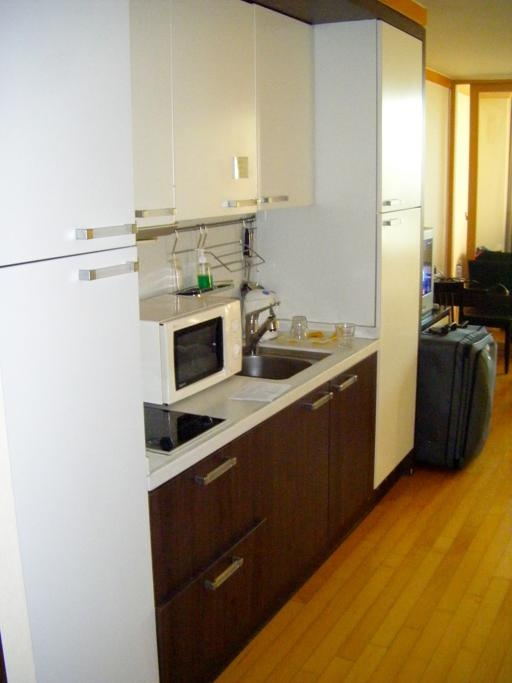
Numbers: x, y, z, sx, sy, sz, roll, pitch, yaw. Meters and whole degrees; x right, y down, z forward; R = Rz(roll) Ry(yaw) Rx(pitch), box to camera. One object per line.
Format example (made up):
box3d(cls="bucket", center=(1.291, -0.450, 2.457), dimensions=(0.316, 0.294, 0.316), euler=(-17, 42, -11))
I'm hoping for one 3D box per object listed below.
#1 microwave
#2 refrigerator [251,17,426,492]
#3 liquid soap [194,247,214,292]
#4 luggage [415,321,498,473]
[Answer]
box3d(cls="microwave", center=(-0.214, 0.020, 1.911), dimensions=(0.311, 0.314, 0.484), euler=(5, 17, 21))
box3d(cls="refrigerator", center=(0.484, -0.432, 3.035), dimensions=(0.578, 2.218, 1.107), euler=(6, 16, 21))
box3d(cls="liquid soap", center=(-0.228, -0.323, 2.479), dimensions=(0.065, 0.186, 0.153), euler=(-3, 9, -6))
box3d(cls="luggage", center=(1.233, 0.365, 3.462), dimensions=(0.448, 0.859, 0.393), euler=(2, 9, 23))
